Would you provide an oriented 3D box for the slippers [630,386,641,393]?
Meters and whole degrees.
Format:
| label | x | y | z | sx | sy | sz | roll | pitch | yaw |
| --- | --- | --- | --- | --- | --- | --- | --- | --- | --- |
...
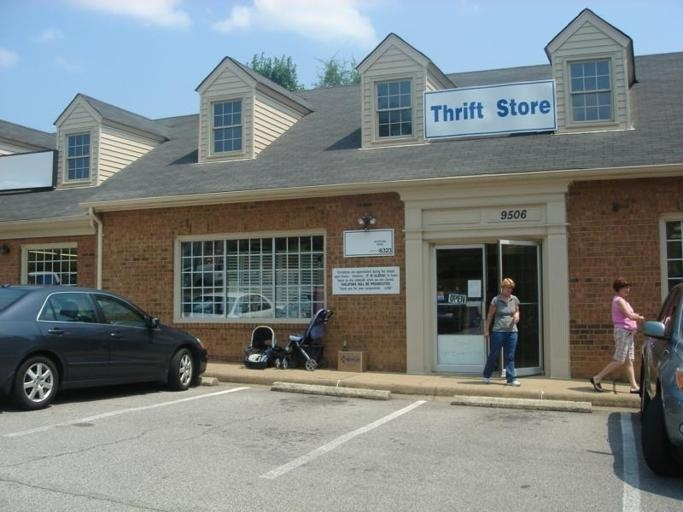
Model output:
| label | x | y | z | sx | sy | sz | roll | pitch | yaw |
| --- | --- | --- | --- | --- | --- | --- | --- | --- | --- |
| slippers | 5.110 | 2.316 | 11.576 | 0.189 | 0.137 | 0.069 | -10 | -3 | 7 |

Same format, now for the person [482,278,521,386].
| label | x | y | z | sx | sy | sz | roll | pitch | yaw |
| --- | --- | --- | --- | --- | --- | --- | --- | --- | --- |
| person | 3.016 | 1.414 | 12.673 | 0.653 | 1.937 | 1.048 | -1 | -2 | 12 |

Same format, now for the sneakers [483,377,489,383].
| label | x | y | z | sx | sy | sz | roll | pitch | yaw |
| --- | --- | --- | --- | --- | --- | --- | --- | --- | --- |
| sneakers | 2.686 | 2.309 | 12.426 | 0.075 | 0.108 | 0.236 | 0 | -13 | 7 |

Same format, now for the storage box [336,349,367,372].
| label | x | y | z | sx | sy | sz | roll | pitch | yaw |
| --- | --- | --- | --- | --- | --- | --- | --- | --- | --- |
| storage box | 0.196 | 2.185 | 13.938 | 0.623 | 0.382 | 0.443 | 2 | -5 | 8 |

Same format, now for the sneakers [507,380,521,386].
| label | x | y | z | sx | sy | sz | roll | pitch | yaw |
| --- | --- | --- | --- | --- | --- | --- | --- | --- | --- |
| sneakers | 3.142 | 2.311 | 12.164 | 0.236 | 0.088 | 0.254 | -1 | -3 | 15 |

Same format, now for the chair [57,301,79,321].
| label | x | y | z | sx | sy | sz | roll | pitch | yaw |
| --- | --- | --- | --- | --- | --- | --- | --- | --- | --- |
| chair | -4.353 | 0.929 | 10.744 | 0.222 | 0.453 | 0.314 | -7 | -10 | 20 |

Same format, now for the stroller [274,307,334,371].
| label | x | y | z | sx | sy | sz | roll | pitch | yaw |
| --- | --- | --- | --- | --- | --- | --- | --- | --- | --- |
| stroller | -0.828 | 1.760 | 14.514 | 1.247 | 1.347 | 0.891 | 1 | 3 | 11 |
